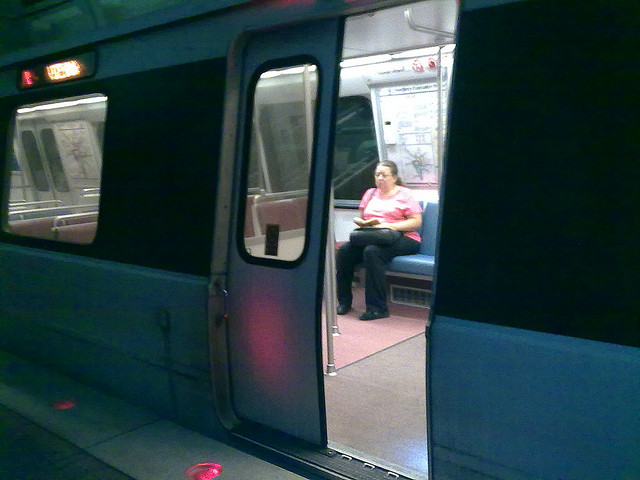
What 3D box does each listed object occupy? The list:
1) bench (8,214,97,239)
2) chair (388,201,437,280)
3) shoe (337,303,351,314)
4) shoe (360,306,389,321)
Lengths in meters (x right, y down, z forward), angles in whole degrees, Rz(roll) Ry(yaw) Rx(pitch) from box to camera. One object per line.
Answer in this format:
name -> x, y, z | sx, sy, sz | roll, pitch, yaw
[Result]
bench -> -2.452, -0.139, 4.746 | 1.376, 0.226, 0.252 | 6, 13, 41
chair -> 1.194, 0.161, 6.425 | 0.662, 0.509, 0.660 | 7, 13, 6
shoe -> 0.294, 0.837, 6.415 | 0.177, 0.119, 0.104 | -4, 10, -10
shoe -> 0.630, 0.864, 6.133 | 0.376, 0.136, 0.116 | 3, -10, -26
